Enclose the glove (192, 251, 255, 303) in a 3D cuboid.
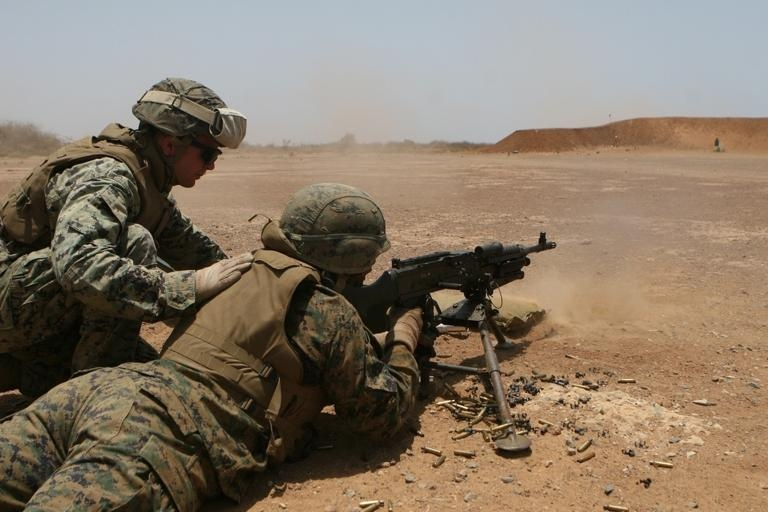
[{"bbox_3d":[-1.169,0.160,4.611,0.438,0.110,0.244,-25,54,-24],"label":"glove"}]
